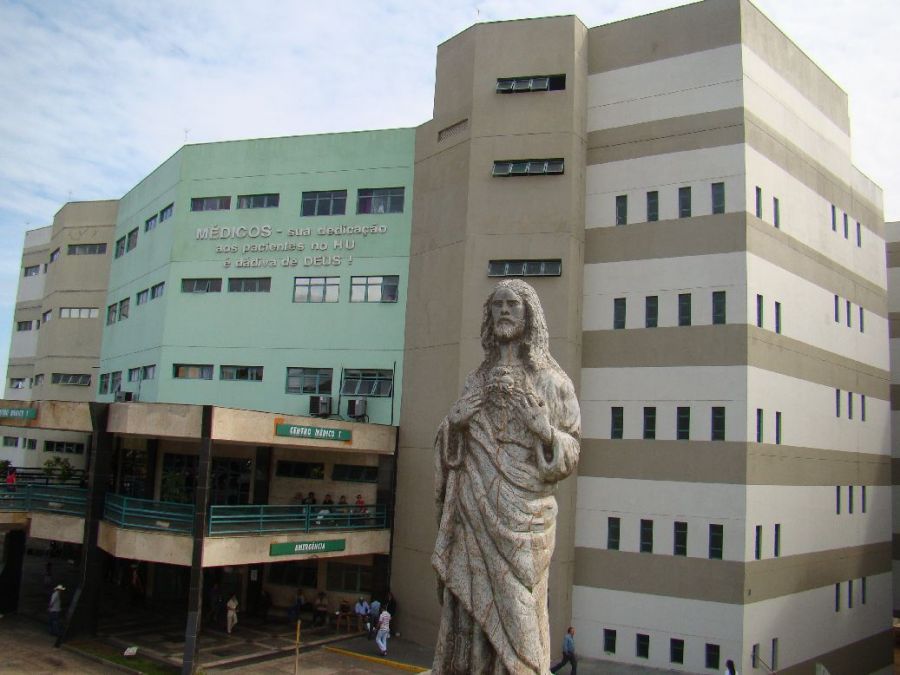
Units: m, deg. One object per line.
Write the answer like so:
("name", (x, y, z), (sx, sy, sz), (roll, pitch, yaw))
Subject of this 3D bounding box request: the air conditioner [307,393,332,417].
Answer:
("air conditioner", (-6.708, 3.695, 40.492), (1.261, 1.360, 0.928), (-1, -9, 18))

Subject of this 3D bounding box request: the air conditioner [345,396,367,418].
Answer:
("air conditioner", (-4.770, 3.705, 39.738), (0.862, 1.812, 1.224), (1, -5, 21))
